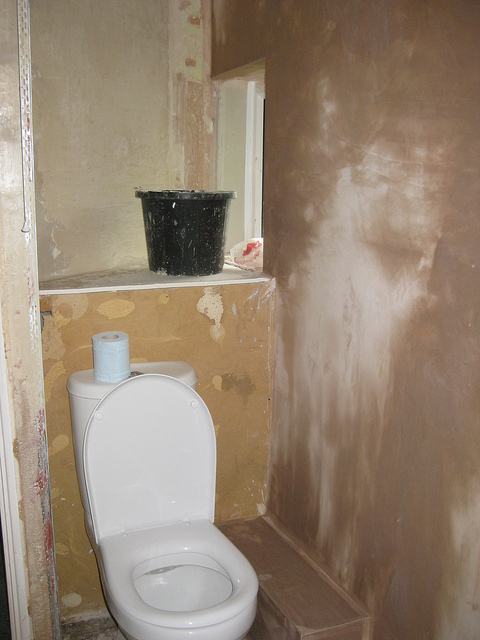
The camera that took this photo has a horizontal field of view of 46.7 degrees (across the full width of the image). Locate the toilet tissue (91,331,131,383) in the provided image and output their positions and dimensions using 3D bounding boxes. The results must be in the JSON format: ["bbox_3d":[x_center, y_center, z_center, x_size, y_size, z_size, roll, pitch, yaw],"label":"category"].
[{"bbox_3d":[-0.316,0.074,1.363,0.079,0.133,0.092,-4,11,-26],"label":"toilet tissue"}]

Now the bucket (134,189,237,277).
[{"bbox_3d":[-0.184,-0.344,1.769,0.253,0.305,0.355,1,36,-3],"label":"bucket"}]
